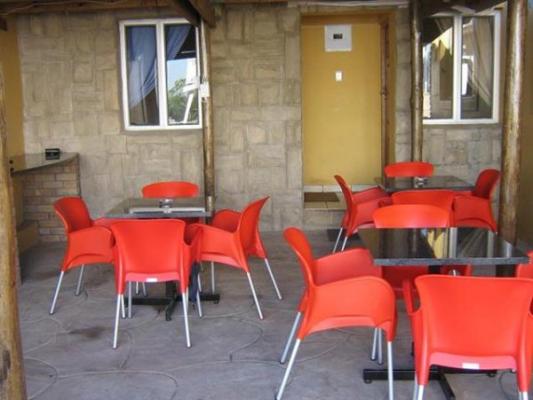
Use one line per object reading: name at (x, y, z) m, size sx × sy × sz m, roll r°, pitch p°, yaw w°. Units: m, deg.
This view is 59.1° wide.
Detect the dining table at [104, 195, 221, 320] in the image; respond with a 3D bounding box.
dining table at (-0.914, 0.463, 4.504) m, size 1.083 × 0.982 × 1.161 m, roll 0°, pitch 7°, yaw -1°

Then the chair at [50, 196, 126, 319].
chair at (-1.534, 0.509, 4.307) m, size 0.846 × 0.941 × 0.821 m, roll -2°, pitch 3°, yaw -24°

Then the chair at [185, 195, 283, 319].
chair at (-0.293, 0.449, 4.205) m, size 0.902 × 0.923 × 0.854 m, roll -3°, pitch 11°, yaw -22°

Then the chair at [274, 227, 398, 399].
chair at (0.522, 0.645, 3.390) m, size 1.044 × 1.269 × 0.981 m, roll -3°, pitch 8°, yaw 2°
